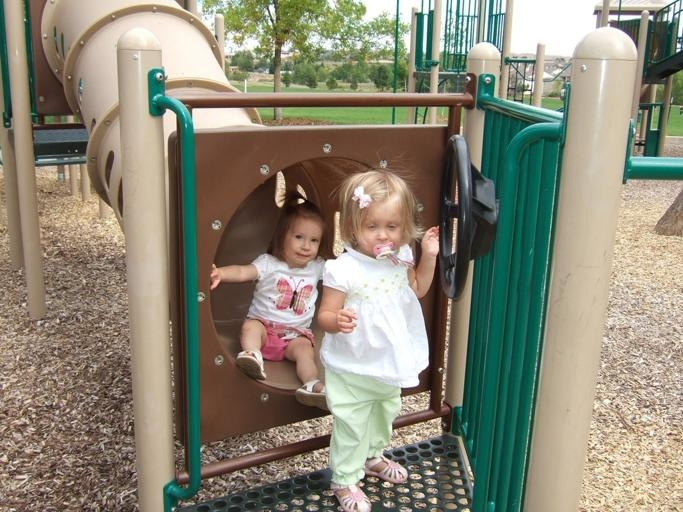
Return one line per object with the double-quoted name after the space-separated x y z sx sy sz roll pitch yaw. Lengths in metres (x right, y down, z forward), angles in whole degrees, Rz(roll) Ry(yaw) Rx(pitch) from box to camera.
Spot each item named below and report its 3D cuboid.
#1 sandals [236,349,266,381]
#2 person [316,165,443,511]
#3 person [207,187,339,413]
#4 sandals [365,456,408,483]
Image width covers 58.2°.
-0.346 0.411 2.345 0.097 0.133 0.166 -1 17 -2 "sandals"
0.144 0.297 2.311 0.474 1.201 0.441 -5 17 -14 "person"
-0.205 0.135 2.661 0.652 0.904 0.535 13 -4 -8 "person"
0.188 0.835 2.423 0.142 0.059 0.086 7 17 30 "sandals"
